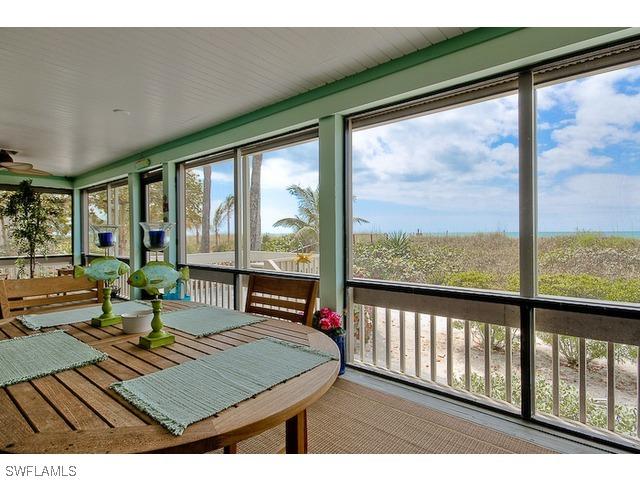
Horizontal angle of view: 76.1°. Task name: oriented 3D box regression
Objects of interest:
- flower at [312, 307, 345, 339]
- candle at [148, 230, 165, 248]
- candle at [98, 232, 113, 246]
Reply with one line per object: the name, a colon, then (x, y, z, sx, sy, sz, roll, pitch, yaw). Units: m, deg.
flower: (0.088, 0.744, 3.729, 0.306, 0.209, 0.271, 17, -11, 3)
candle: (-0.990, -0.012, 2.484, 0.126, 0.104, 0.109, -1, 1, 4)
candle: (-1.408, -0.006, 2.683, 0.104, 0.087, 0.098, -1, 6, -32)
